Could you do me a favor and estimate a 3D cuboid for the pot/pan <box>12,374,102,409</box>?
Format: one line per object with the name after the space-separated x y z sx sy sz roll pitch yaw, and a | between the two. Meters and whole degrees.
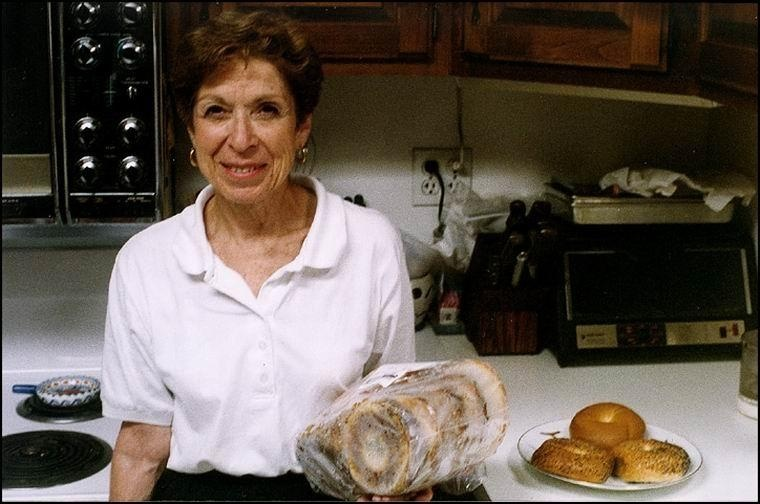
-0.927 0.397 1.875 0.210 0.035 0.128 0 9 2 | pot/pan

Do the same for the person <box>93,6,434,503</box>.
-0.239 0.016 1.427 0.723 1.021 0.298 0 6 13 | person

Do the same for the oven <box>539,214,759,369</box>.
0.822 0.119 2.105 0.745 0.501 0.393 0 -5 -2 | oven

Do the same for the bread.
0.035 0.339 1.324 0.305 0.184 0.322 -18 -1 33 | bread

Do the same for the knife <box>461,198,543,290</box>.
0.395 -0.029 2.070 0.212 0.123 0.294 0 20 6 | knife

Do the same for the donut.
0.525 0.441 1.519 0.362 0.126 0.180 -1 6 1 | donut
